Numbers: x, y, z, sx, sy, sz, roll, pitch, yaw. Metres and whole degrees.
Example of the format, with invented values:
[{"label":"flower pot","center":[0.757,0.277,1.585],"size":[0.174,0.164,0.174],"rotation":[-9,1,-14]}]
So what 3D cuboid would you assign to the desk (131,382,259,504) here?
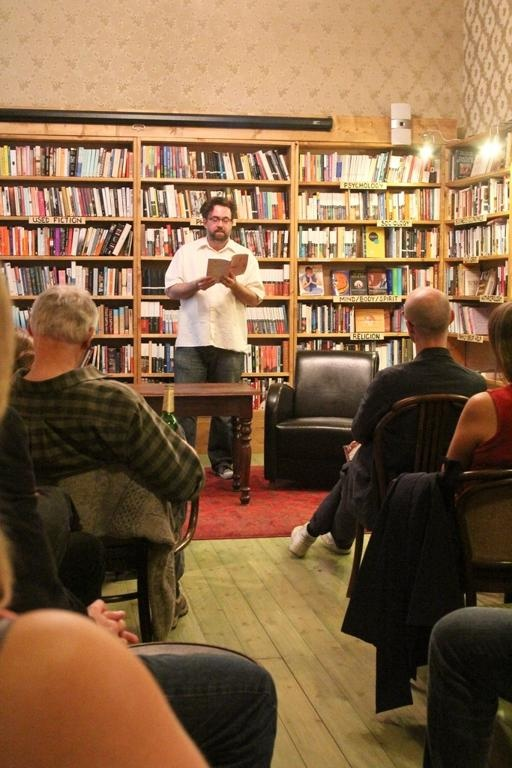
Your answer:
[{"label":"desk","center":[-0.432,0.308,4.463],"size":[1.048,0.799,0.800],"rotation":[1,1,-2]}]

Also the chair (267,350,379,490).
[{"label":"chair","center":[0.369,0.242,4.995],"size":[0.885,1.131,1.108],"rotation":[2,-2,14]}]
